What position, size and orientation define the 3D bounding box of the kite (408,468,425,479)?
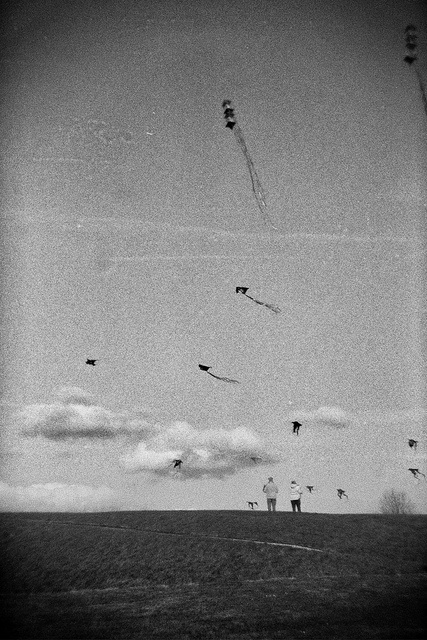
[{"bbox_3d":[3.881,2.912,20.458,0.252,0.165,1.212,2,-4,10],"label":"kite"}]
